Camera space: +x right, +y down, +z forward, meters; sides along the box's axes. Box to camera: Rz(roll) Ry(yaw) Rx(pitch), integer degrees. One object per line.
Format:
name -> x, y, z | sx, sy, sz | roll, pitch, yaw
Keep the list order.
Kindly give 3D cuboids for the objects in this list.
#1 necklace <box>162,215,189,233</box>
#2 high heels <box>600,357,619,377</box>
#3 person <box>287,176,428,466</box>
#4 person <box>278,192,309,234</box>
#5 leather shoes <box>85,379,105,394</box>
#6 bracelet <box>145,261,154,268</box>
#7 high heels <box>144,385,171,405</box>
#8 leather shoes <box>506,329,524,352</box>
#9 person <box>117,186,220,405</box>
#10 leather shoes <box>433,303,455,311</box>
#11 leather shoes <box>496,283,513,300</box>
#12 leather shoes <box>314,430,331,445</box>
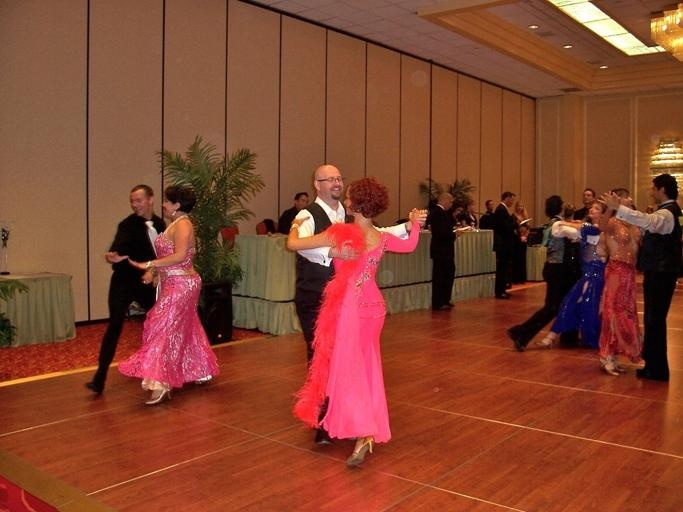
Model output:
necklace -> -1.358, -0.261, 4.431 | 0.279, 0.176, 0.187 | 6, 8, 41
high heels -> 2.706, 1.113, 5.355 | 0.085, 0.125, 0.273 | -6, -5, 4
person -> 0.087, 0.420, 3.549 | 0.809, 1.869, 0.384 | 0, 6, -7
person -> -0.714, -0.653, 8.820 | 0.378, 0.822, 0.523 | 19, 20, 38
leather shoes -> -2.128, 1.134, 4.600 | 0.123, 0.130, 0.064 | 28, 11, 12
bracelet -> -1.568, 0.076, 4.353 | 0.044, 0.067, 0.020 | 13, 7, -25
high heels -> -1.517, 1.180, 4.487 | 0.083, 0.147, 0.264 | -9, -10, 22
leather shoes -> 2.026, 0.962, 6.214 | 0.122, 0.316, 0.108 | -16, 9, 7
person -> -1.433, 0.322, 4.458 | 0.746, 1.784, 0.327 | -1, 6, -16
leather shoes -> 1.686, 0.850, 8.752 | 0.407, 0.193, 0.138 | 7, -6, -34
leather shoes -> 3.119, 0.669, 10.146 | 0.191, 0.283, 0.597 | 4, 8, 29
leather shoes -> -0.140, 1.284, 3.786 | 0.122, 0.167, 0.088 | 1, -4, -8
